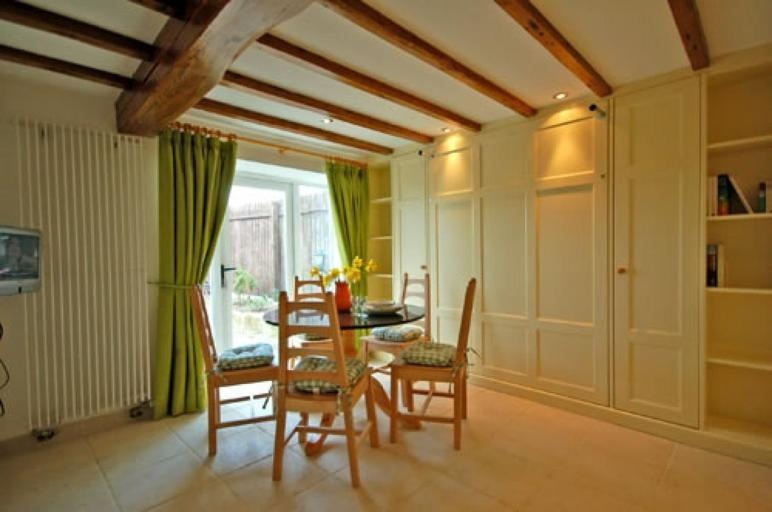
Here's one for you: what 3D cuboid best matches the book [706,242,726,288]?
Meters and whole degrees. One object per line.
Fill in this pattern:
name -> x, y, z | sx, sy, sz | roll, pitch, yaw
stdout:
book -> 2.847, 0.076, 4.602 | 0.189, 0.373, 0.113 | 0, -1, -41

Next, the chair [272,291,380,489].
chair -> -0.543, 1.049, 4.550 | 0.880, 1.540, 1.056 | -1, -1, -13

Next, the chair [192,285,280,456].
chair -> -1.304, 0.964, 4.585 | 0.680, 1.434, 0.533 | -1, -1, -13

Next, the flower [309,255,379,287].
flower -> -0.425, 0.156, 5.110 | 0.548, 0.238, 0.455 | -4, 0, -1

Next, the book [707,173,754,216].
book -> 2.898, -0.521, 4.499 | 0.309, 0.363, 0.098 | -2, -1, 29
